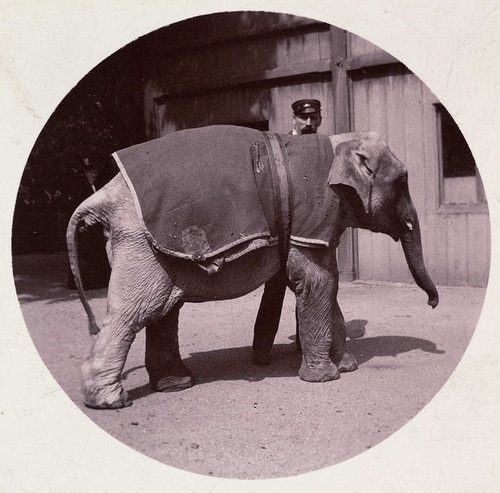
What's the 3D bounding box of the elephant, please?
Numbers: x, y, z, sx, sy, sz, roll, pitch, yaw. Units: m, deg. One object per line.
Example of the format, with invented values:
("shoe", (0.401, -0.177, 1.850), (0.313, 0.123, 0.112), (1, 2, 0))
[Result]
("elephant", (0.071, -0.055, 4.137), (2.055, 1.708, 1.016), (-3, 11, -11))
